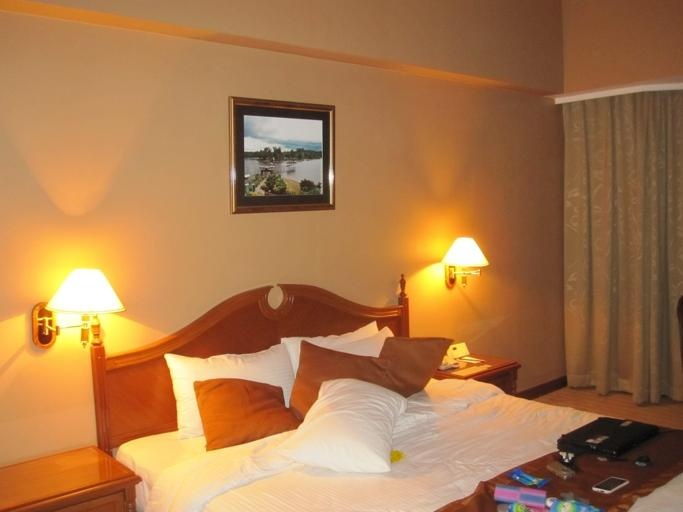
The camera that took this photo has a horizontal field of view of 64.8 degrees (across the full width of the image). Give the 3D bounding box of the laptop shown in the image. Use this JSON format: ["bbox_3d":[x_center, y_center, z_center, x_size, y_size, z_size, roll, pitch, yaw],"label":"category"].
[{"bbox_3d":[1.559,1.069,3.162,0.754,0.076,0.310,-7,10,-37],"label":"laptop"}]

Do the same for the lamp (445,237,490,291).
[{"bbox_3d":[1.136,0.069,4.849,0.452,0.465,0.377,-12,14,-36],"label":"lamp"}]

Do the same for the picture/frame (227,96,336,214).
[{"bbox_3d":[-0.466,-0.746,3.908,0.908,0.908,0.062,-2,3,-34],"label":"picture/frame"}]

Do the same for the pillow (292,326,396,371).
[{"bbox_3d":[0.052,0.647,3.937,0.617,0.229,0.101,-2,-23,-46],"label":"pillow"}]

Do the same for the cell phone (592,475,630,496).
[{"bbox_3d":[1.362,1.152,2.702,0.221,0.023,0.089,-7,10,-32],"label":"cell phone"}]

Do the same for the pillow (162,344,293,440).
[{"bbox_3d":[-0.629,0.884,3.373,0.604,0.271,0.908,3,5,-27],"label":"pillow"}]

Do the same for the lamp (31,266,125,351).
[{"bbox_3d":[-1.565,0.337,3.200,0.508,0.494,0.395,2,1,5],"label":"lamp"}]

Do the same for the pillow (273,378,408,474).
[{"bbox_3d":[0.129,0.988,3.188,0.481,0.196,0.702,2,18,11],"label":"pillow"}]
